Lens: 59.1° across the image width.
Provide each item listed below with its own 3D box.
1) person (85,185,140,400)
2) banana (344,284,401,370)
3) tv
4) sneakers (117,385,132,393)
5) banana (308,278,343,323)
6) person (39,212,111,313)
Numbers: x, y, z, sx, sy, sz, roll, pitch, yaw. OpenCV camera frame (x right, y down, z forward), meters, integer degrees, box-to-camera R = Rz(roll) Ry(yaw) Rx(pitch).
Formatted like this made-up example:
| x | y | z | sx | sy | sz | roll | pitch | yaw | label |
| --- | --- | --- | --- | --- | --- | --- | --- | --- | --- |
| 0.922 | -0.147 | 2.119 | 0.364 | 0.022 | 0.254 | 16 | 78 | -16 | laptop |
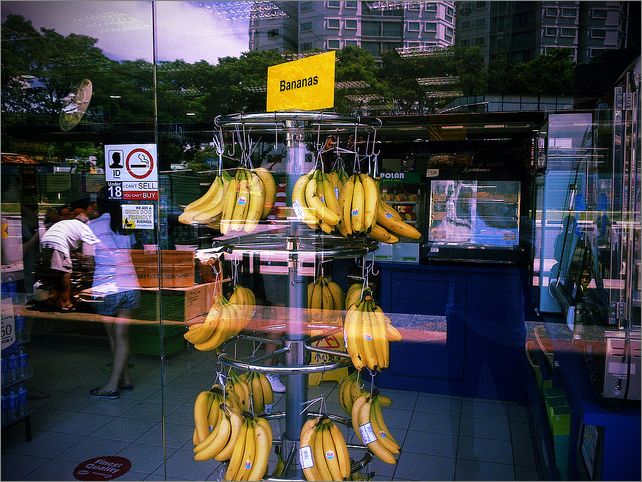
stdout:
| x | y | z | sx | sy | sz | roll | pitch | yaw | label |
| --- | --- | --- | --- | --- | --- | --- | --- | --- | --- |
| -1.845 | 0.452 | 4.929 | 0.456 | 1.639 | 0.697 | -5 | 13 | -14 | person |
| 0.209 | 0.403 | 2.502 | 0.198 | 0.346 | 0.232 | 7 | 15 | 34 | banana |
| 1.191 | -0.175 | 4.433 | 0.746 | 0.648 | 0.292 | 2 | 3 | 5 | tv |
| -1.695 | 1.263 | 4.871 | 0.113 | 0.061 | 0.047 | -5 | 13 | -17 | sneakers |
| 0.012 | 0.271 | 2.701 | 0.183 | 0.241 | 0.181 | -2 | 4 | -4 | banana |
| -2.309 | 0.167 | 5.333 | 0.621 | 0.941 | 0.604 | 21 | 24 | 23 | person |
